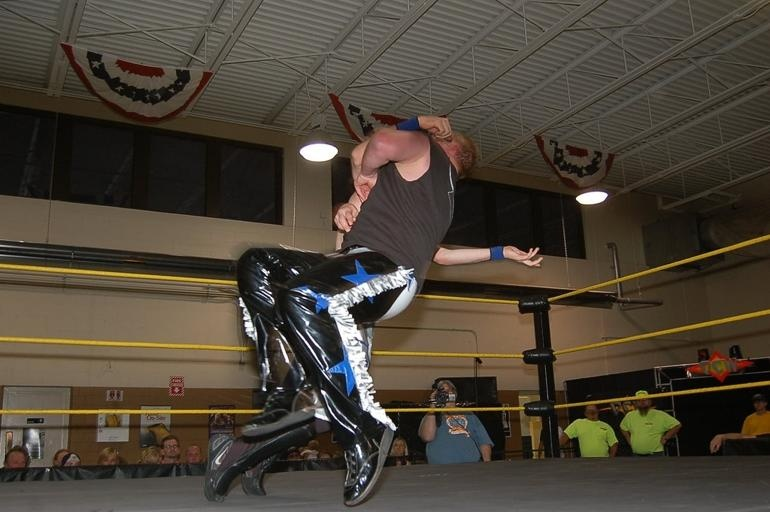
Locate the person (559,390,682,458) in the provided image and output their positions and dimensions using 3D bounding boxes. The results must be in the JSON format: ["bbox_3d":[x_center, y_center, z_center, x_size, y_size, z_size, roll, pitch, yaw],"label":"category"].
[{"bbox_3d":[3.309,2.405,8.932,1.504,0.762,0.839,-8,-14,19],"label":"person"}]

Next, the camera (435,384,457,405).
[{"bbox_3d":[0.516,1.197,5.499,0.137,0.166,0.180,2,-4,-22],"label":"camera"}]

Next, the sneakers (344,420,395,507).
[{"bbox_3d":[-0.114,1.192,3.723,0.259,0.527,0.176,20,-47,4],"label":"sneakers"}]

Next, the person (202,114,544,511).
[{"bbox_3d":[-0.243,0.307,3.965,1.623,2.306,0.732,-10,-16,23],"label":"person"}]
